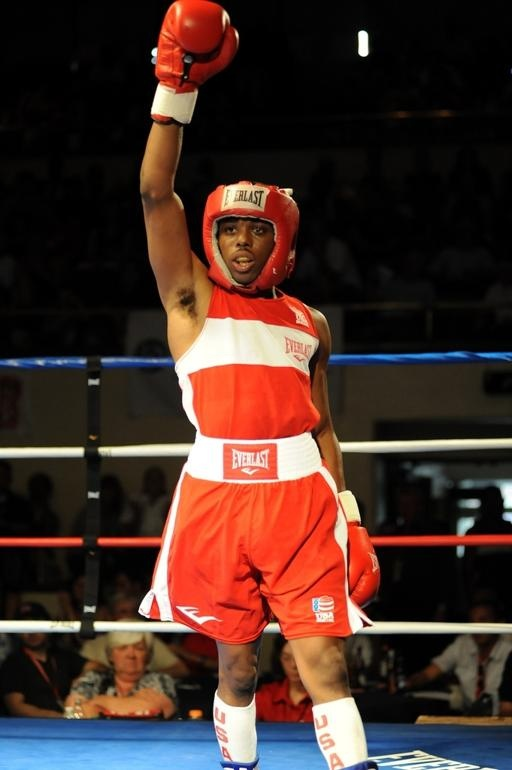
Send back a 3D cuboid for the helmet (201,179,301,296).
[{"bbox_3d":[0.011,-0.307,2.024,0.202,0.212,0.245,-1,-3,9],"label":"helmet"}]
